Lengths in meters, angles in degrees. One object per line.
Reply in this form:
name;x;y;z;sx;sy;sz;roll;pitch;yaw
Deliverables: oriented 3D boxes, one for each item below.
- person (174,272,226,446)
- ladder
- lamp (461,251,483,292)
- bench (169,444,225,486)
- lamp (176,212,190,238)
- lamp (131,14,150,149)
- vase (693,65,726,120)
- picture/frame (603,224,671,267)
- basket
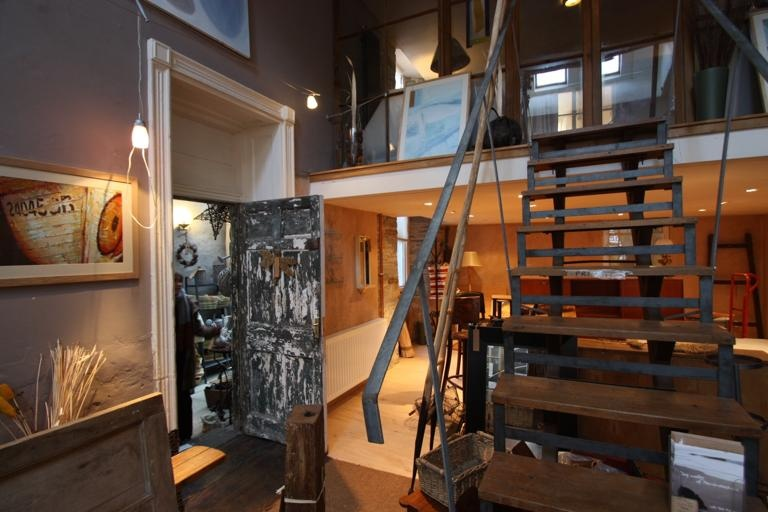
person;-2.135;1.085;5.678;0.267;1.781;1.112;0;-2;-19
ladder;5.442;0.424;7.985;0.647;1.579;0.228;-1;-2;38
lamp;1.748;0.289;10.275;0.387;0.789;0.447;-1;-1;7
bench;-1.560;1.719;4.296;0.421;0.176;0.347;1;-3;-39
lamp;-3.003;-0.460;7.721;0.076;0.330;0.300;10;17;26
lamp;-2.137;-1.553;4.552;0.139;1.207;0.248;0;-1;-25
vase;3.200;-1.605;5.073;0.297;0.538;0.176;-1;-2;27
picture/frame;3.858;-0.196;7.960;1.038;0.604;3.015;-1;-2;26
basket;0.629;1.627;4.255;0.440;0.287;0.701;-1;8;34
